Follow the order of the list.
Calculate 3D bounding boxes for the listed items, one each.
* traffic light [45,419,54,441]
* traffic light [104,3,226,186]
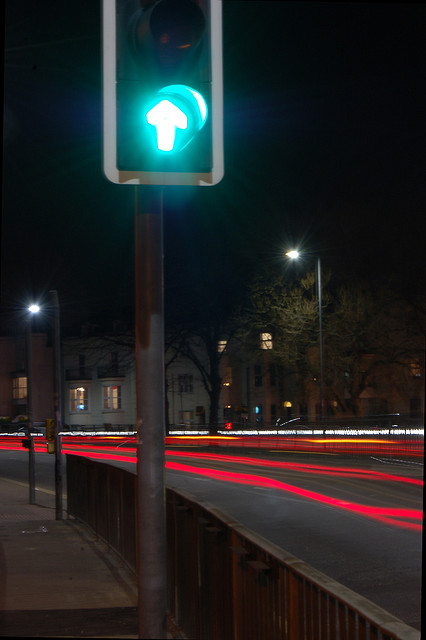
[{"bbox_3d":[-3.683,2.501,17.399,0.204,0.400,0.424,-6,-3,-13],"label":"traffic light"},{"bbox_3d":[-0.222,-1.098,3.620,0.653,0.780,0.348,-7,-2,-9],"label":"traffic light"}]
